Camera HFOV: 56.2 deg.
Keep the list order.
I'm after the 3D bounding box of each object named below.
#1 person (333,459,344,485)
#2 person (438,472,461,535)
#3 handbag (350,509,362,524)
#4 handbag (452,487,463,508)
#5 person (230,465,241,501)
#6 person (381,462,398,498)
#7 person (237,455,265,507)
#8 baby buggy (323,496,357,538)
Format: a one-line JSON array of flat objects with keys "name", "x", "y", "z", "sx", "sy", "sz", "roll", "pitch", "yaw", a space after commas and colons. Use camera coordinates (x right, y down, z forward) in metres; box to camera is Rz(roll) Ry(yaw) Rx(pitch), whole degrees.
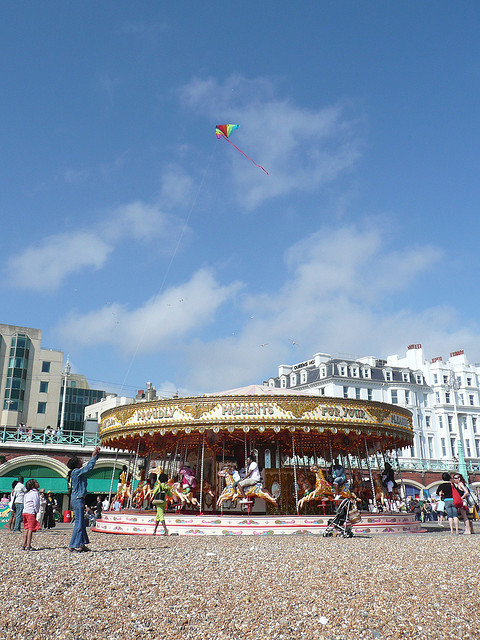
[{"name": "person", "x": 3.753, "y": 5.891, "z": 17.169, "sx": 0.422, "sy": 0.662, "sz": 0.872, "roll": -6, "pitch": -16, "yaw": 10}, {"name": "person", "x": 7.155, "y": 6.252, "z": 15.543, "sx": 0.675, "sy": 1.900, "sz": 0.507, "roll": -2, "pitch": -14, "yaw": -7}, {"name": "handbag", "x": 3.665, "y": 6.188, "z": 14.287, "sx": 0.500, "sy": 0.412, "sz": 0.308, "roll": 10, "pitch": -20, "yaw": -40}, {"name": "handbag", "x": 7.118, "y": 5.785, "z": 14.733, "sx": 0.271, "sy": 0.634, "sz": 0.471, "roll": -10, "pitch": -17, "yaw": 22}, {"name": "person", "x": -0.147, "y": 6.110, "z": 16.962, "sx": 0.392, "sy": 1.187, "sz": 0.854, "roll": -3, "pitch": -16, "yaw": -2}, {"name": "person", "x": 7.263, "y": 7.725, "z": 21.947, "sx": 0.622, "sy": 1.588, "sz": 1.309, "roll": -8, "pitch": -16, "yaw": 16}, {"name": "person", "x": 0.365, "y": 6.008, "z": 16.910, "sx": 0.873, "sy": 1.687, "sz": 0.762, "roll": -4, "pitch": -16, "yaw": 3}, {"name": "baby buggy", "x": 3.162, "y": 6.122, "z": 14.524, "sx": 0.987, "sy": 1.527, "sz": 0.728, "roll": 4, "pitch": 14, "yaw": 7}]
